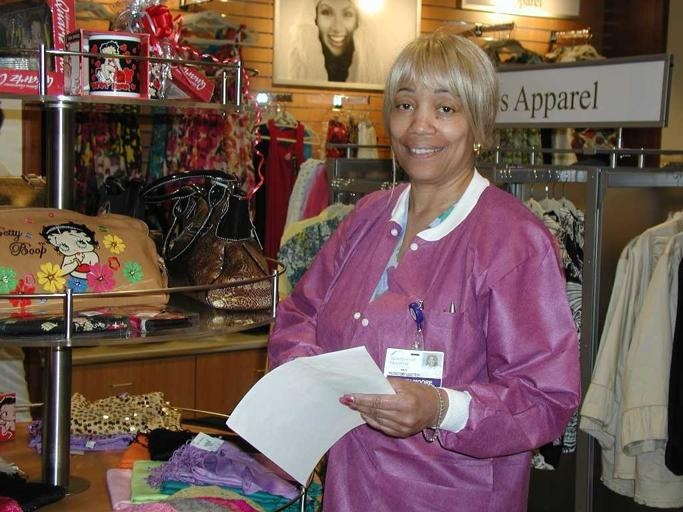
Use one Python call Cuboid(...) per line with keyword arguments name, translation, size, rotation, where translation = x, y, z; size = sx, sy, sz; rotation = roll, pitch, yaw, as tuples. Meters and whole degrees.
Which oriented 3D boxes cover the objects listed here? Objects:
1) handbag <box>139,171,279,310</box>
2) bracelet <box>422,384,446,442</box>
Cuboid(name="handbag", translation=(-0.303, -0.028, 1.478), size=(0.285, 0.349, 0.443), rotation=(-5, 16, -31))
Cuboid(name="bracelet", translation=(0.195, 0.333, 1.214), size=(0.046, 0.171, 0.122), rotation=(0, 9, 7))
